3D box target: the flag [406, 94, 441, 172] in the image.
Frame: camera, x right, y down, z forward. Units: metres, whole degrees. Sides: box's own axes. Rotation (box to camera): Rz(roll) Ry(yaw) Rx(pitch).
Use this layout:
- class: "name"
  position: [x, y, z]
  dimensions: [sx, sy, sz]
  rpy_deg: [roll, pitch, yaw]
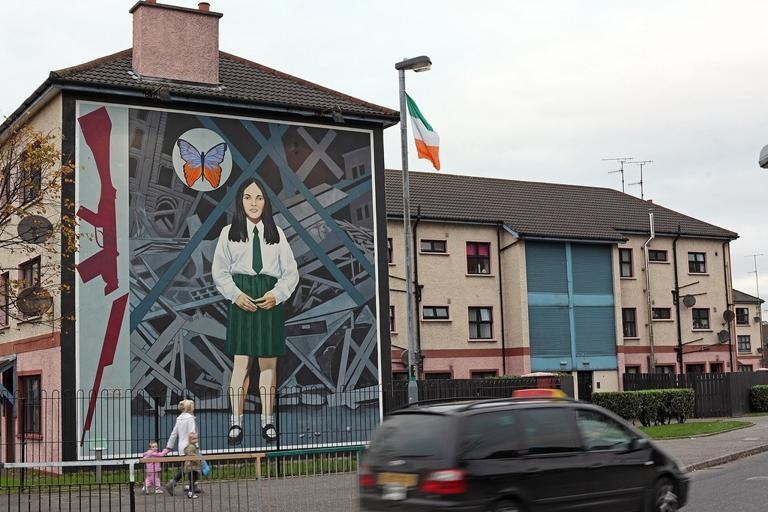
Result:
- class: "flag"
  position: [1.289, -4.129, 43.145]
  dimensions: [0.867, 2.808, 0.258]
  rpy_deg: [-7, 12, 32]
